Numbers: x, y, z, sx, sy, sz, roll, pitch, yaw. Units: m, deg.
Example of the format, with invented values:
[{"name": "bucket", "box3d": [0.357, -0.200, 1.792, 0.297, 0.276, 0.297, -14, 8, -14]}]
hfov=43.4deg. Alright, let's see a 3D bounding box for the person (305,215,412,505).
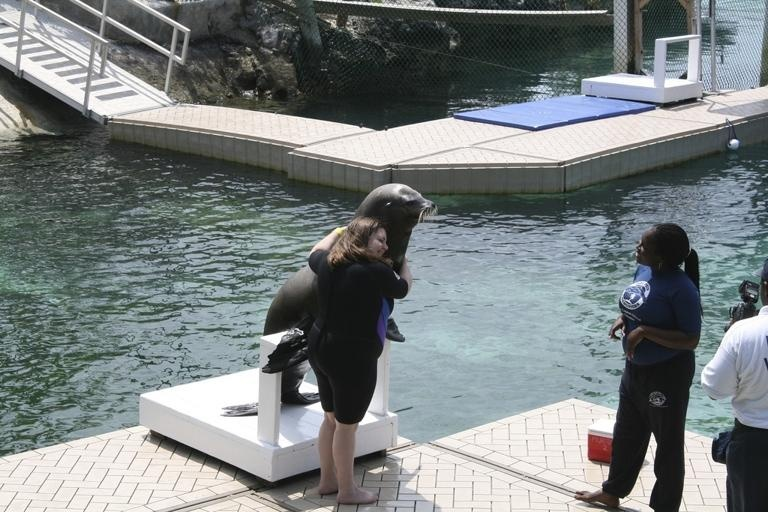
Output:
[{"name": "person", "box3d": [-0.120, 0.866, 8.054, 1.125, 2.041, 0.796, 2, 4, 32]}]
